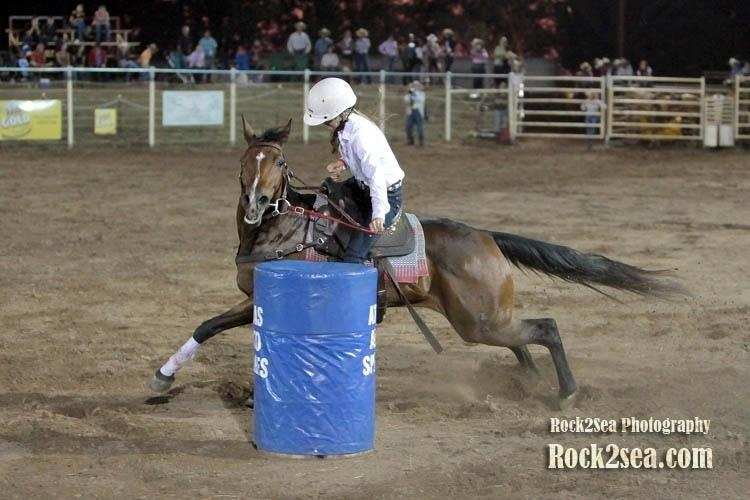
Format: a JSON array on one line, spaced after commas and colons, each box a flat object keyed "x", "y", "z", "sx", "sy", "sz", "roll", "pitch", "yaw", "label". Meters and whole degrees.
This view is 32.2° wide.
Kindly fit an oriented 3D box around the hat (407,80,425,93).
[{"x": 1.096, "y": -4.314, "z": 34.246, "sx": 0.414, "sy": 0.220, "sz": 0.834, "roll": 22, "pitch": 3, "yaw": 4, "label": "hat"}]
